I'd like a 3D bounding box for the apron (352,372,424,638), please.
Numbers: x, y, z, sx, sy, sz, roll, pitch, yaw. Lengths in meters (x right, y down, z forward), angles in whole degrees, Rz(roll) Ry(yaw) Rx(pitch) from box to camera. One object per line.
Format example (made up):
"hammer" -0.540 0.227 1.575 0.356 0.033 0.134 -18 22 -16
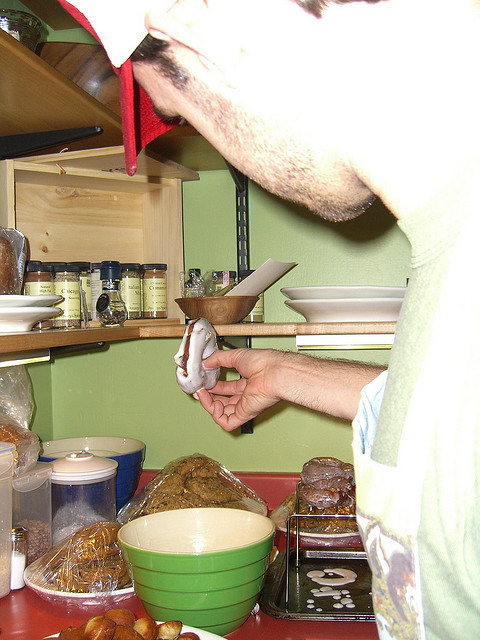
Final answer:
"apron" 0.093 0.119 0.339 0.042 0.145 0.101 3 1 7

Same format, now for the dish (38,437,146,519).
"dish" -0.347 0.348 1.222 0.205 0.114 0.194 0 -3 8

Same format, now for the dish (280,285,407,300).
"dish" 0.193 -0.066 1.023 0.170 0.040 0.156 -1 7 -19

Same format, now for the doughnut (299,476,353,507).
"doughnut" 0.161 0.318 1.013 0.074 0.048 0.085 -3 9 -19

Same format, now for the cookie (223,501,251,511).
"cookie" 0.003 0.333 0.955 0.044 0.017 0.047 1 -2 -4

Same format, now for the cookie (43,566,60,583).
"cookie" -0.273 0.367 0.749 0.016 0.005 0.014 12 -13 10

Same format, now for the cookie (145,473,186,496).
"cookie" -0.136 0.306 0.971 0.045 0.021 0.058 5 -18 -43

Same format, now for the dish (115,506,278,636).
"dish" -0.059 0.303 0.660 0.182 0.100 0.173 0 -7 -7

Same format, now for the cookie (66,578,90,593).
"cookie" -0.224 0.363 0.712 0.019 0.006 0.016 15 2 2

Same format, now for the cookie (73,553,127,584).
"cookie" -0.196 0.354 0.738 0.087 0.028 0.071 5 -1 -20

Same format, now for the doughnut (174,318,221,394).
"doughnut" -0.071 0.057 0.816 0.079 0.100 0.143 -1 -2 0

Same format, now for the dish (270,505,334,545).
"dish" 0.106 0.391 0.990 0.125 0.058 0.128 -1 9 -6
